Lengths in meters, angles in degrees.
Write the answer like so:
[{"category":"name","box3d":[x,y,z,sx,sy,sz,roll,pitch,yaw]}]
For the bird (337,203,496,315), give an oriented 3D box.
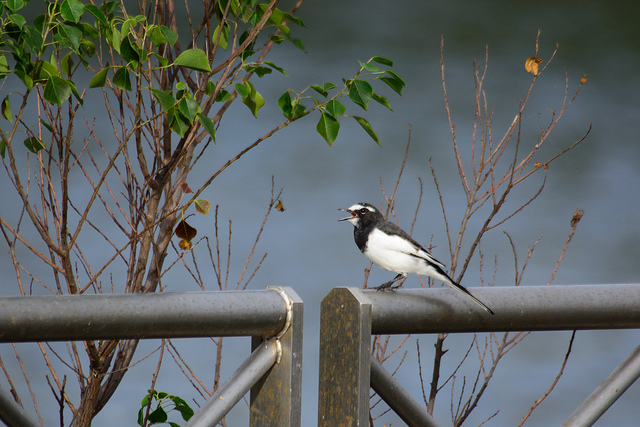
[{"category":"bird","box3d":[0.642,0.197,6.240,1.230,0.390,0.704,8,-92,14]}]
